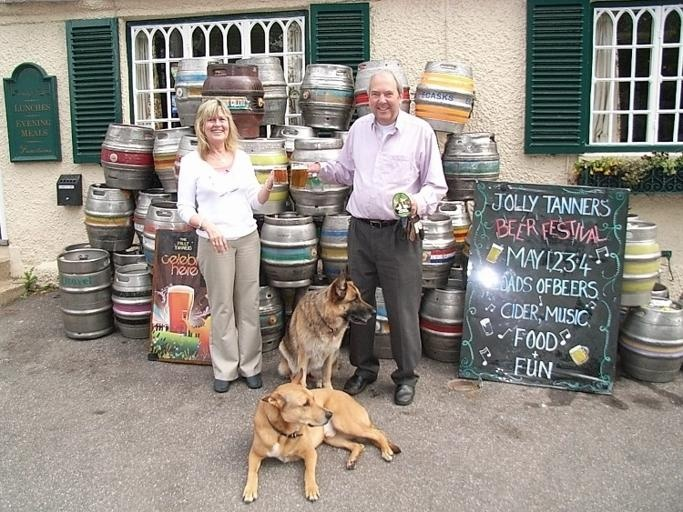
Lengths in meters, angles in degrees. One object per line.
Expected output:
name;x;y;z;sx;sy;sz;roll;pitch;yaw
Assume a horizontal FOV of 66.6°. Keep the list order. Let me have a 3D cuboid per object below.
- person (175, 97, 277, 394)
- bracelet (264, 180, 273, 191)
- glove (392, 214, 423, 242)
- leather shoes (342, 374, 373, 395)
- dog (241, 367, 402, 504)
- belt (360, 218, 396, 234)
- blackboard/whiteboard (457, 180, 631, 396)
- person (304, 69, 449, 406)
person;-0.897;-0.039;4.113;0.680;2.312;0.502;-6;16;-20
bracelet;-0.556;-0.541;3.992;0.059;0.066;0.075;1;-14;-2
glove;0.503;-0.207;3.819;0.156;0.193;0.065;4;6;13
leather shoes;0.129;1.049;4.229;0.109;0.107;0.270;4;4;37
dog;-0.153;1.112;3.463;1.044;0.552;0.747;-3;17;-23
belt;0.272;-0.238;3.930;0.286;0.073;0.037;6;16;23
blackboard/whiteboard;1.713;0.306;4.343;1.634;2.097;0.110;6;-7;7
person;0.338;-0.120;4.111;0.535;2.503;0.861;-14;20;-40
